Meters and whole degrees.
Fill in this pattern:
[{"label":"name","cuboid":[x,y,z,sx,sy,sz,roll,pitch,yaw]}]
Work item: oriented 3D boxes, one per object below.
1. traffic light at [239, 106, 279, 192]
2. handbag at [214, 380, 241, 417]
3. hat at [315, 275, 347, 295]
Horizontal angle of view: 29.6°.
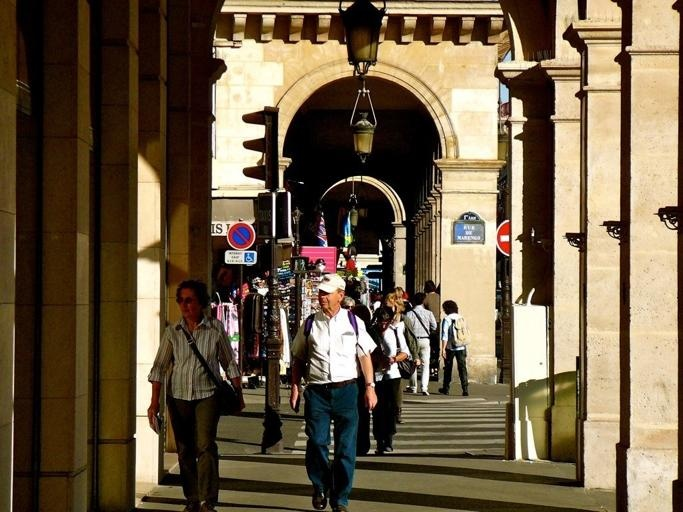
[{"label":"traffic light","cuboid":[-1.063,-1.394,16.852,0.435,1.161,0.345,-4,22,-10]},{"label":"handbag","cuboid":[-1.081,1.313,12.134,0.206,0.316,0.167,-20,-9,3]},{"label":"hat","cuboid":[-0.083,0.268,12.436,0.156,0.127,0.227,1,-4,36]}]
